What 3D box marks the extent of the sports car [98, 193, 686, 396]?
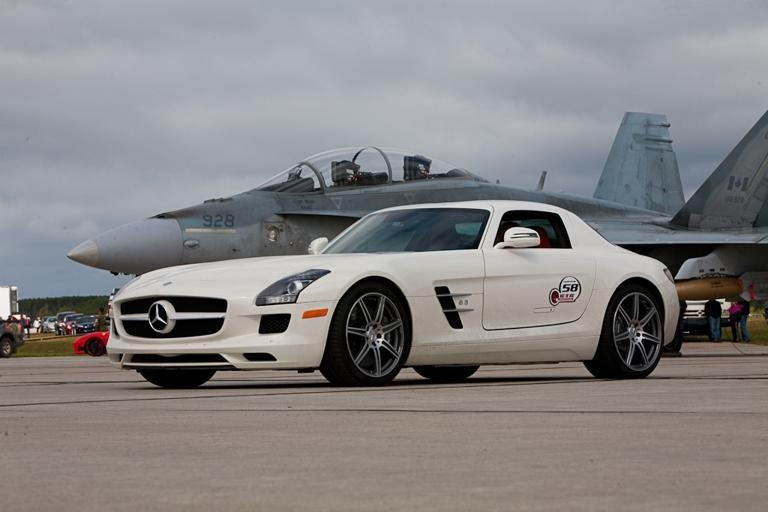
[{"bbox_3d":[0.122,0.446,8.774,4.622,1.045,2.392,4,-8,-26],"label":"sports car"}]
